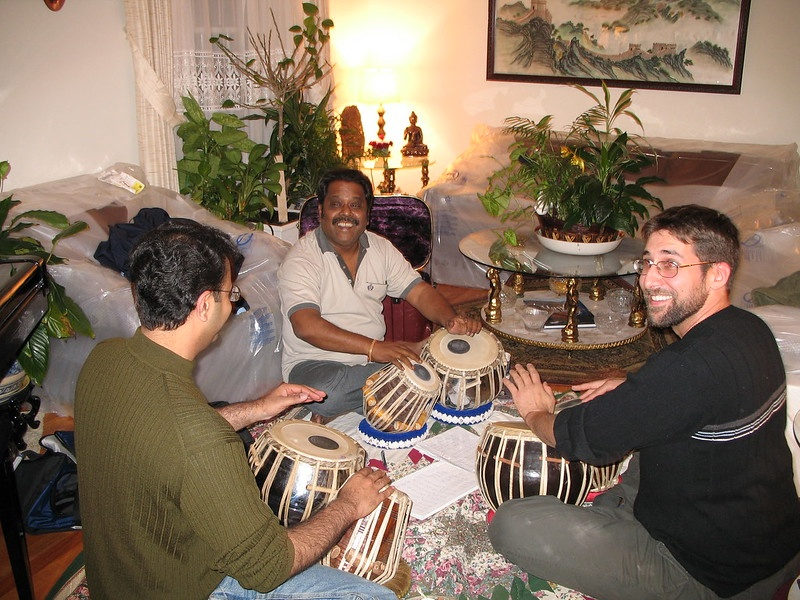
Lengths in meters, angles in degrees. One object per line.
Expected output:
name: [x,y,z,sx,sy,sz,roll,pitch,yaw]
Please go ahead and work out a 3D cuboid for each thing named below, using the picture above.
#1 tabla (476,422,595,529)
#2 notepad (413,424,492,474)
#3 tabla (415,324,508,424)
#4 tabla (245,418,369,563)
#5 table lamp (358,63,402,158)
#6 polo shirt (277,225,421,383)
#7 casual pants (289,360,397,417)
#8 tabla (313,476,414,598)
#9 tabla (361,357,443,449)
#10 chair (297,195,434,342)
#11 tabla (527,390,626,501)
tabla: [0.462,0.653,2.003,0.392,0.356,0.387,-3,1,-1]
notepad: [0.211,0.608,2.209,0.153,0.020,0.171,22,27,36]
tabla: [0.289,0.293,2.376,0.346,0.273,0.377,13,32,28]
tabla: [-0.315,0.624,1.824,0.319,0.300,0.331,31,8,40]
table lamp: [-0.228,-1.947,5.554,0.402,0.923,0.897,-2,19,2]
polo shirt: [-0.269,0.041,2.728,0.773,0.658,0.416,-14,23,-34]
casual pants: [-0.332,0.392,2.578,0.333,0.131,0.320,4,10,-4]
tabla: [-0.068,0.755,1.731,0.253,0.337,0.133,30,-20,4]
tabla: [-0.033,0.420,2.248,0.338,0.336,0.317,-3,48,-29]
chair: [-0.196,-0.165,2.957,0.871,0.991,0.544,-2,18,-1]
tabla: [0.709,0.453,2.004,0.352,0.308,0.356,13,4,27]
